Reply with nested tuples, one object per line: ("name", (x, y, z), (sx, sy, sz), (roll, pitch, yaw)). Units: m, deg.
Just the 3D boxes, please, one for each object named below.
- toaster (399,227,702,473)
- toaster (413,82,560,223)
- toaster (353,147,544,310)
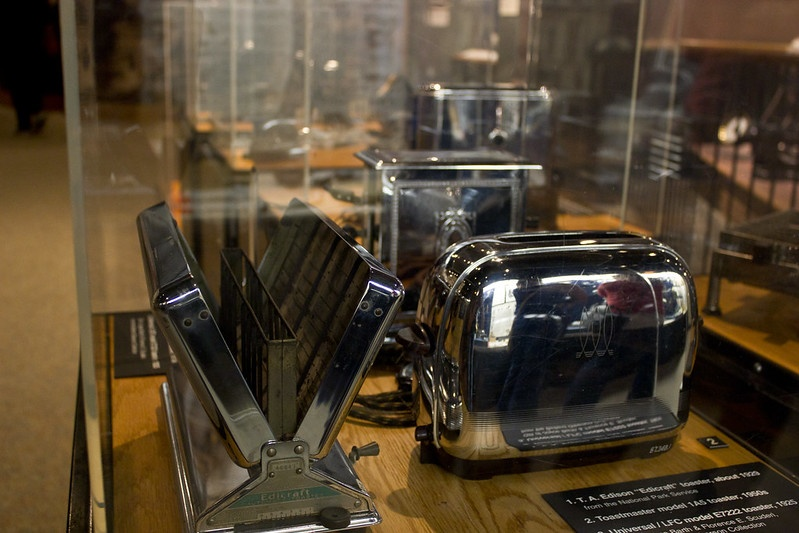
("toaster", (0.223, 0.113, 1.037), (0.413, 0.308, 0.216), (-2, 8, -16))
("toaster", (0.155, -0.190, 1.312), (0.260, 0.256, 0.257), (-2, 15, -11))
("toaster", (0.057, -0.081, 1.286), (0.345, 0.344, 0.232), (-2, 12, -15))
